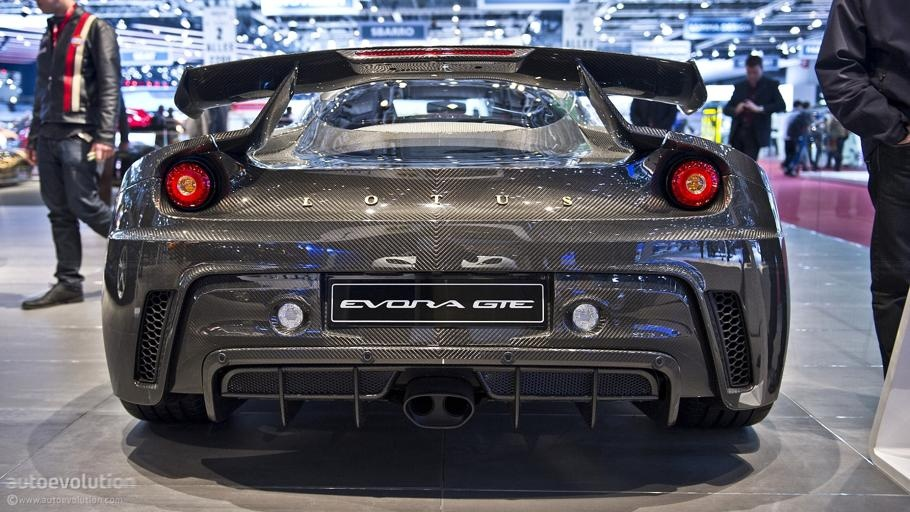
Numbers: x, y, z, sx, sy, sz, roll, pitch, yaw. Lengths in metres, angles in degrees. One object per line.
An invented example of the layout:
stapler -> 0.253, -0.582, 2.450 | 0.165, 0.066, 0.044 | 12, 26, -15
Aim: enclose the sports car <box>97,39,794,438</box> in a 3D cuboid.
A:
sports car -> -0.206, -0.848, 6.953 | 3.937, 1.755, 6.138 | 2, 17, -3
